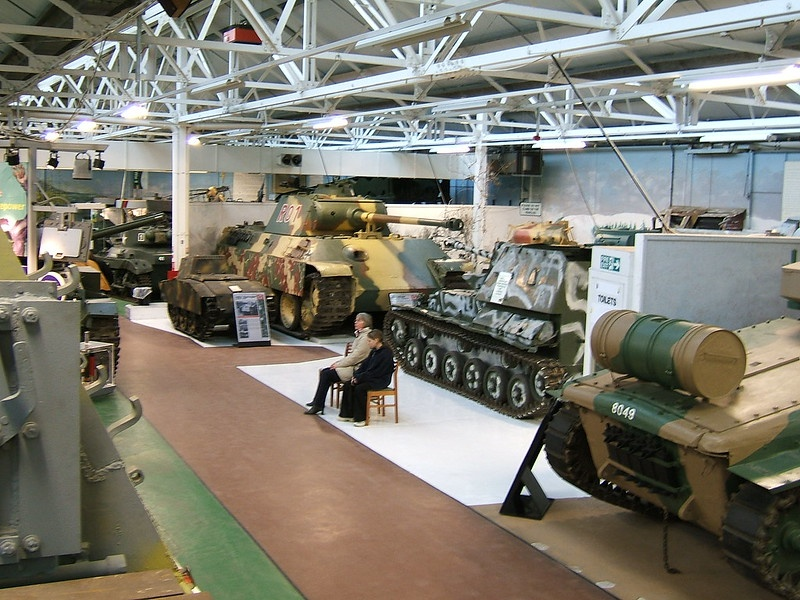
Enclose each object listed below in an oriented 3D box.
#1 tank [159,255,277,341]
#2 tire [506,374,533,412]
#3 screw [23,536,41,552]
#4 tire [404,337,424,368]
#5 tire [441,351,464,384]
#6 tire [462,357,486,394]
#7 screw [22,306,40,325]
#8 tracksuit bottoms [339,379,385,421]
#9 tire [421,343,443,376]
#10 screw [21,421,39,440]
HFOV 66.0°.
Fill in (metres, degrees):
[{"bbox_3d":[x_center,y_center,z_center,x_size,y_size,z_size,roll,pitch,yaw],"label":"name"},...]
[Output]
[{"bbox_3d":[-4.507,-0.080,16.052,2.304,1.550,3.483,-2,6,-36],"label":"tank"},{"bbox_3d":[1.950,1.534,10.009,0.327,0.576,0.745,2,-11,-22],"label":"tire"},{"bbox_3d":[-1.718,1.144,2.872,0.071,0.093,0.020,-1,14,-22],"label":"screw"},{"bbox_3d":[0.289,1.106,12.583,0.312,0.561,0.725,5,-11,-21],"label":"tire"},{"bbox_3d":[0.986,1.275,11.448,0.303,0.541,0.673,3,-18,-18],"label":"tire"},{"bbox_3d":[1.321,1.364,10.949,0.302,0.561,0.707,17,-23,-22],"label":"tire"},{"bbox_3d":[-1.710,0.076,2.845,0.043,0.078,0.062,11,14,30],"label":"screw"},{"bbox_3d":[-0.684,1.595,9.622,0.971,0.601,0.537,5,-1,-31],"label":"tracksuit bottoms"},{"bbox_3d":[0.632,1.184,12.033,0.308,0.554,0.709,2,-14,-22],"label":"tire"},{"bbox_3d":[-1.716,0.609,2.857,0.073,0.078,0.020,-2,14,-23],"label":"screw"}]
